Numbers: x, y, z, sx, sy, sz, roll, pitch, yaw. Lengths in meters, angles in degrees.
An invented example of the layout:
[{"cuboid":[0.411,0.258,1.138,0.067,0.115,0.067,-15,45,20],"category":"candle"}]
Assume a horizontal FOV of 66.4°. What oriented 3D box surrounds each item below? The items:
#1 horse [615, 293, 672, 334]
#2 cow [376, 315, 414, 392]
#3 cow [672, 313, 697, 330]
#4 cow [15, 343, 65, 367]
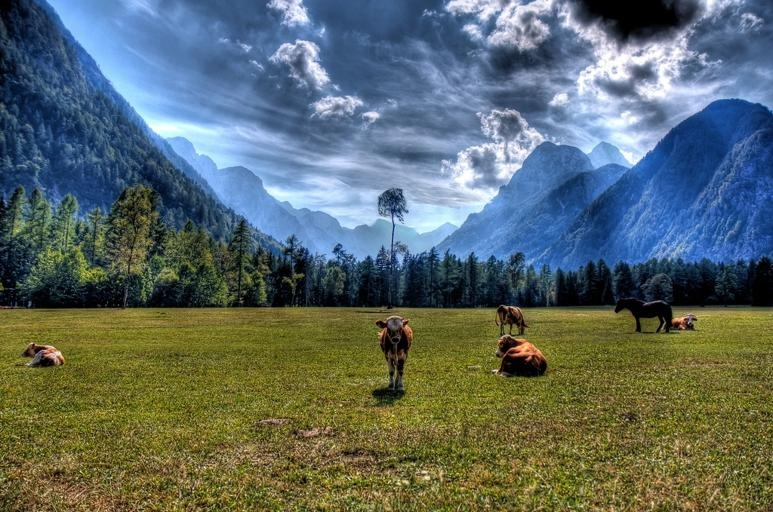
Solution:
[{"cuboid":[32.284,7.325,73.914,6.559,4.062,1.845,-2,-2,40],"category":"horse"},{"cuboid":[0.893,8.455,54.184,2.745,6.392,4.954,0,7,1],"category":"cow"},{"cuboid":[37.502,8.178,74.317,2.585,1.846,2.543,3,7,23],"category":"cow"},{"cuboid":[-33.205,9.677,56.994,3.398,1.677,2.209,9,-7,20],"category":"cow"}]
